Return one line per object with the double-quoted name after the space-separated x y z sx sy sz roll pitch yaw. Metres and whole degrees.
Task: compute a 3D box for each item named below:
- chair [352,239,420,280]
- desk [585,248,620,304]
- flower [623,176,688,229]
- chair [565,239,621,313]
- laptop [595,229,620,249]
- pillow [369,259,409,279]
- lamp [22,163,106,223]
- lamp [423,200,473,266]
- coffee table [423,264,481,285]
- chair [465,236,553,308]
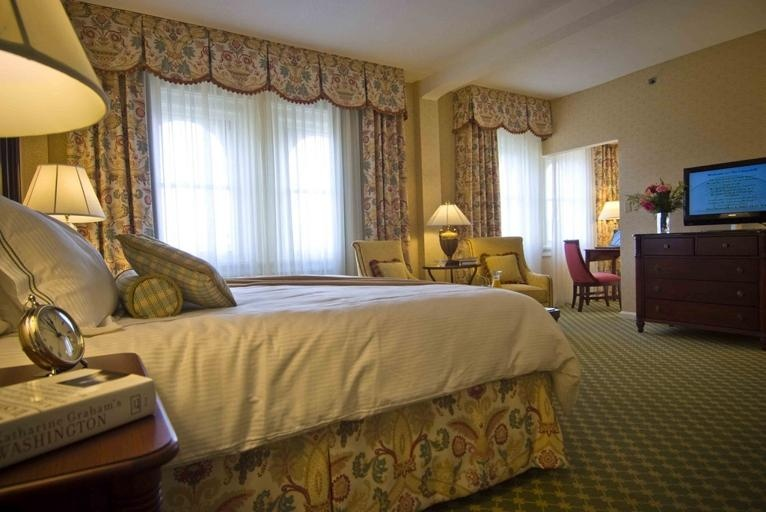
0.010 0.042 5.914 0.470 0.593 0.482 -3 -6 -19 "chair"
3.223 0.204 8.149 0.524 0.673 0.713 -2 5 14 "desk"
2.925 -0.484 5.928 0.530 0.727 0.651 0 -1 -12 "flower"
2.789 0.250 7.398 0.684 0.932 0.624 -1 4 1 "chair"
3.498 -0.237 8.418 0.396 0.243 0.403 -3 -3 32 "laptop"
0.057 0.133 5.713 0.256 0.077 0.245 1 29 -14 "pillow"
-2.384 -0.429 4.142 0.532 0.522 0.512 5 14 3 "lamp"
0.791 -0.227 6.461 0.530 0.690 0.521 -2 -5 -17 "lamp"
0.835 0.182 6.552 0.351 0.337 0.359 -1 0 41 "coffee table"
1.418 0.273 6.183 0.754 0.946 0.848 -2 5 -4 "chair"
